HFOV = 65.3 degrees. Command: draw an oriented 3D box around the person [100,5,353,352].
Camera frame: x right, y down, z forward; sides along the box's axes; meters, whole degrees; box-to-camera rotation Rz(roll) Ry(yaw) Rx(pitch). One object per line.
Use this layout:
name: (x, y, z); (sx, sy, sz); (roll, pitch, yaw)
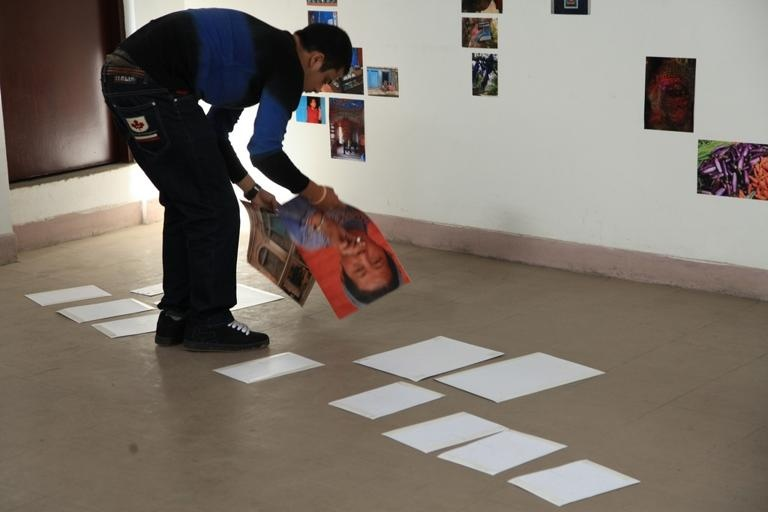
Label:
person: (-0.783, -0.361, 2.979); (1.082, 1.621, 0.432); (-1, 16, -3)

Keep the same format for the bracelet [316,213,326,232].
bracelet: (-0.334, -0.174, 3.138); (0.027, 0.079, 0.067); (-1, 8, -20)

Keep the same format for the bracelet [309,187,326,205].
bracelet: (-0.334, -0.300, 3.025); (0.017, 0.072, 0.074); (30, 31, -15)

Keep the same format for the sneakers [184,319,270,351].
sneakers: (-0.801, 0.405, 3.082); (0.417, 0.172, 0.155); (-1, 4, -13)

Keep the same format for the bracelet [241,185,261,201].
bracelet: (-0.731, -0.335, 3.261); (0.089, 0.038, 0.080); (-31, 16, 33)

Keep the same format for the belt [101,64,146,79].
belt: (-1.193, -0.842, 2.741); (0.136, 0.051, 0.098); (4, 12, 10)
